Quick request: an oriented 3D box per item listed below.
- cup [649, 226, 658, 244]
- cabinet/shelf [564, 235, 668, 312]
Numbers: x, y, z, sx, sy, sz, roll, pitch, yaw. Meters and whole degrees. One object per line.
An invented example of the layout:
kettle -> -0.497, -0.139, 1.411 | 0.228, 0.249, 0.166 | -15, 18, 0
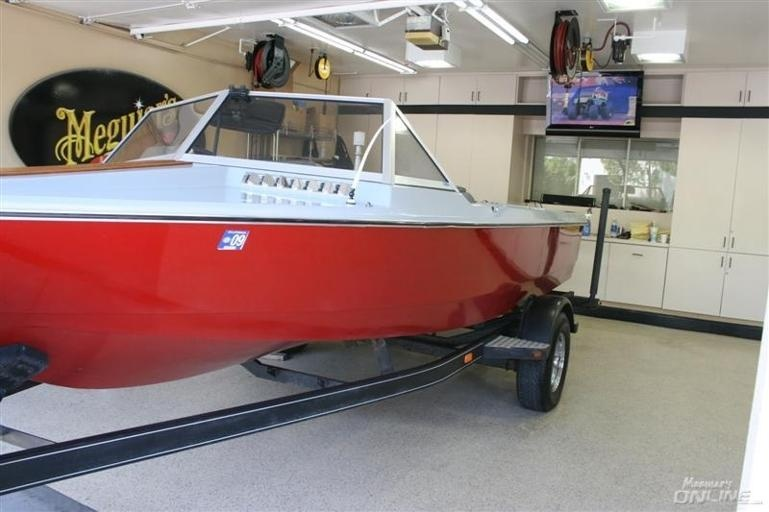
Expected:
cup -> 3.546, -0.303, 7.439 | 0.101, 0.185, 0.403 | 5, 10, 24
cabinet/shelf -> 3.105, 0.202, 7.451 | 1.514, 0.913, 0.867 | 3, -4, 30
